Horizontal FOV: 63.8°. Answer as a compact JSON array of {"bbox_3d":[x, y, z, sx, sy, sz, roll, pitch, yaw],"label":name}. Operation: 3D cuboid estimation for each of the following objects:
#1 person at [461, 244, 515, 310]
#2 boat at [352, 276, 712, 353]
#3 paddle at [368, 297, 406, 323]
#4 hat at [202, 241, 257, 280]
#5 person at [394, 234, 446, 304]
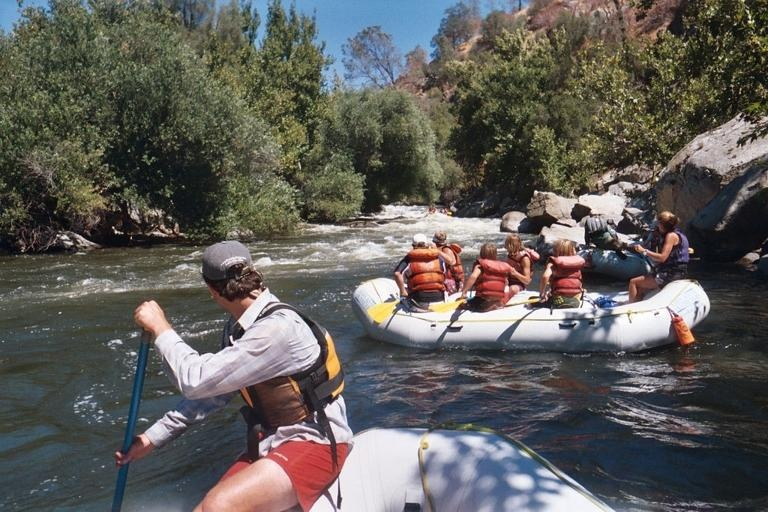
[{"bbox_3d":[1.662,0.330,10.468,1.043,1.197,1.000,1,9,2],"label":"person"},{"bbox_3d":[2.417,1.097,10.176,3.838,0.802,2.244,0,-4,8],"label":"boat"},{"bbox_3d":[-0.037,0.947,10.482,0.256,0.104,0.697,20,39,27],"label":"paddle"},{"bbox_3d":[-1.476,0.032,5.721,0.320,0.266,0.462,-10,16,-17],"label":"hat"},{"bbox_3d":[0.620,0.347,10.567,1.013,1.087,1.127,-1,-28,-4],"label":"person"}]
